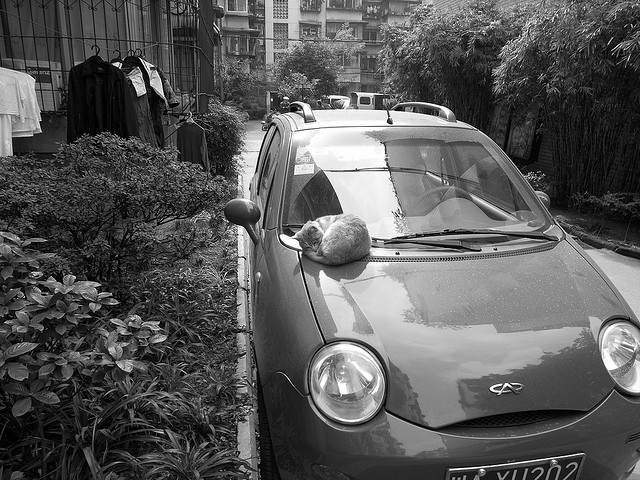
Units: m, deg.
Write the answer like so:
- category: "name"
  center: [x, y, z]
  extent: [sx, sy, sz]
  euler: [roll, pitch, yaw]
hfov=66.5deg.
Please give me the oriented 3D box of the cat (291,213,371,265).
- category: "cat"
  center: [0.078, -0.039, 2.892]
  extent: [0.543, 0.243, 0.392]
  euler: [-15, 23, -27]
